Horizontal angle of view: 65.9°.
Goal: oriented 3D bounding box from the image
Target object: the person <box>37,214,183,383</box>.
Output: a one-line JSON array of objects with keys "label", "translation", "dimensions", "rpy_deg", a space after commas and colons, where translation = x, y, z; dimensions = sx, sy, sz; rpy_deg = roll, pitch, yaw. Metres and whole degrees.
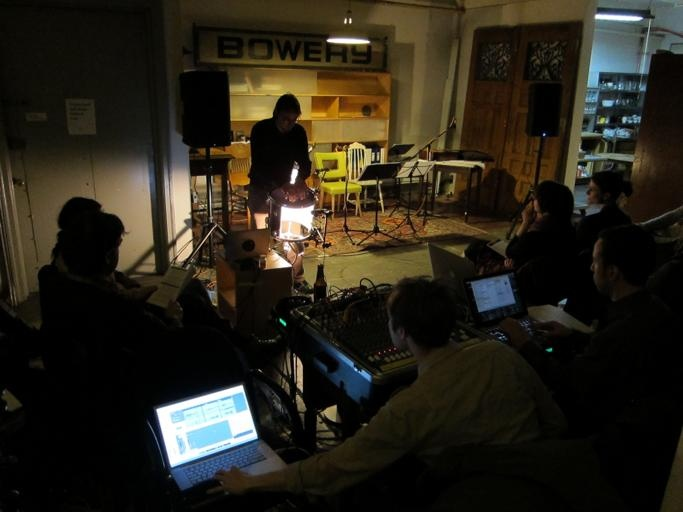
[{"label": "person", "translation": [-1.204, 0.207, 2.710], "dimensions": [0.580, 0.832, 0.545], "rpy_deg": [9, 26, -8]}]

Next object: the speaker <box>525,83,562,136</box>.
[{"label": "speaker", "translation": [2.641, -1.892, 6.910], "dimensions": [0.435, 0.663, 0.417], "rpy_deg": [0, 6, -17]}]

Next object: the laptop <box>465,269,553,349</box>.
[{"label": "laptop", "translation": [0.913, 0.260, 2.930], "dimensions": [0.364, 0.269, 0.377], "rpy_deg": [-11, 26, -25]}]

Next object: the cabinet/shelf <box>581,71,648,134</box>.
[{"label": "cabinet/shelf", "translation": [6.359, -3.578, 12.208], "dimensions": [2.010, 1.345, 0.584], "rpy_deg": [-10, 14, -31]}]

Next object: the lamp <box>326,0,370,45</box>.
[{"label": "lamp", "translation": [0.076, -3.551, 7.980], "dimensions": [0.663, 0.724, 0.661], "rpy_deg": [-9, 27, -18]}]

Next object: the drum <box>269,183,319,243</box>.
[{"label": "drum", "translation": [-0.353, -0.387, 4.359], "dimensions": [0.431, 0.444, 0.428], "rpy_deg": [-16, 28, -42]}]

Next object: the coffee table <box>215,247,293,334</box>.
[{"label": "coffee table", "translation": [-0.644, 0.340, 4.251], "dimensions": [0.627, 0.917, 0.607], "rpy_deg": [0, 22, -11]}]

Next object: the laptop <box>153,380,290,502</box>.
[{"label": "laptop", "translation": [-0.526, 0.806, 2.322], "dimensions": [0.454, 0.266, 0.424], "rpy_deg": [-11, 14, -38]}]

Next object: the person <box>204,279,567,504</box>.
[{"label": "person", "translation": [0.210, 0.617, 2.343], "dimensions": [0.832, 0.954, 0.373], "rpy_deg": [-20, 40, -22]}]

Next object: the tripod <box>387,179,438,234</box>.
[{"label": "tripod", "translation": [1.111, -0.763, 8.259], "dimensions": [0.724, 0.958, 0.717], "rpy_deg": [2, 30, -3]}]

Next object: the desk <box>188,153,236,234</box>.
[{"label": "desk", "translation": [-1.649, -0.815, 7.251], "dimensions": [0.596, 0.867, 0.671], "rpy_deg": [7, 9, 33]}]
